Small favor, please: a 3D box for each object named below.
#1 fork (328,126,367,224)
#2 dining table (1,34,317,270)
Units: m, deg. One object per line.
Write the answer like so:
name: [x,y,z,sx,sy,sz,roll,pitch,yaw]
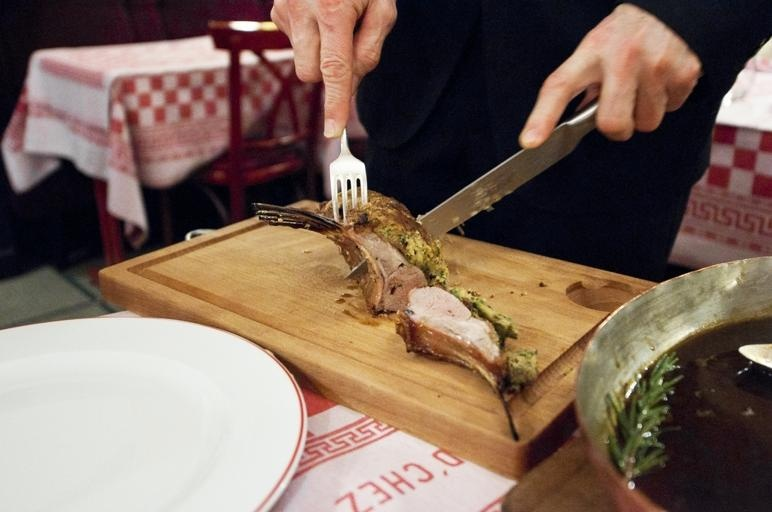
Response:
fork: [-0.127,-0.165,2.165,0.080,0.566,0.073,-6,7,-10]
dining table: [-1.471,-0.841,3.874,1.350,0.831,1.569,32,49,27]
